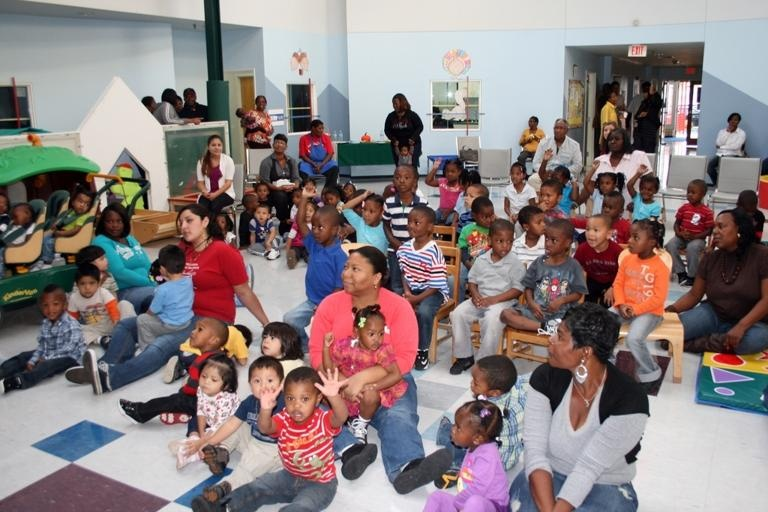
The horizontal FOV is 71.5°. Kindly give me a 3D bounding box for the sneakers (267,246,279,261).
[{"bbox_3d":[-1.762,-0.032,8.449,0.069,0.135,0.211,-16,18,41],"label":"sneakers"}]

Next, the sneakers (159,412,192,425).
[{"bbox_3d":[-1.670,1.300,4.266,0.245,0.101,0.102,0,14,-2],"label":"sneakers"}]

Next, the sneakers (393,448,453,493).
[{"bbox_3d":[0.248,1.419,3.511,0.396,0.136,0.156,-35,5,10],"label":"sneakers"}]

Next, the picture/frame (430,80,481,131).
[{"bbox_3d":[2.000,-4.209,14.573,1.347,1.277,0.106,1,8,5],"label":"picture/frame"}]

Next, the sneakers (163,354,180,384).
[{"bbox_3d":[-1.930,1.041,4.875,0.132,0.089,0.245,-2,56,36],"label":"sneakers"}]

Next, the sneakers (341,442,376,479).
[{"bbox_3d":[-0.188,1.416,3.677,0.233,0.111,0.140,-34,25,-27],"label":"sneakers"}]

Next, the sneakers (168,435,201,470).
[{"bbox_3d":[-1.464,1.435,3.913,0.200,0.158,0.186,-10,20,-25],"label":"sneakers"}]

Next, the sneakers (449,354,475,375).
[{"bbox_3d":[0.730,1.023,5.037,0.311,0.123,0.102,-13,12,-42],"label":"sneakers"}]

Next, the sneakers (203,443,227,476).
[{"bbox_3d":[-1.186,1.431,3.741,0.131,0.243,0.116,-3,-7,-4],"label":"sneakers"}]

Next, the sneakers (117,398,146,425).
[{"bbox_3d":[-1.978,1.245,4.272,0.133,0.300,0.108,-20,43,10],"label":"sneakers"}]

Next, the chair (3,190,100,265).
[{"bbox_3d":[-3.768,-0.368,6.138,0.845,1.021,0.560,-8,21,-44],"label":"chair"}]

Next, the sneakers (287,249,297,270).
[{"bbox_3d":[-1.383,0.039,8.057,0.127,0.280,0.173,4,-1,6],"label":"sneakers"}]
